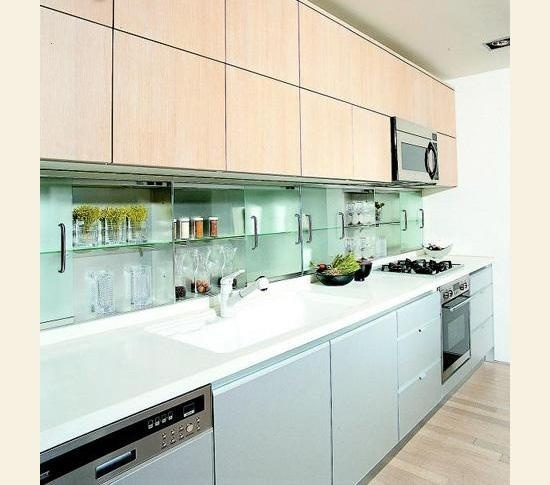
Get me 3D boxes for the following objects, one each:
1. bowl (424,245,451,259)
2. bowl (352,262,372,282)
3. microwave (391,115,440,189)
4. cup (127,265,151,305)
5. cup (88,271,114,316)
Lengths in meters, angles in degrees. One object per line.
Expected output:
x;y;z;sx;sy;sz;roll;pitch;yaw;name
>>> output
1.416;0.086;3.652;0.234;0.128;0.164;5;7;39;bowl
0.550;0.187;2.640;0.100;0.104;0.118;0;-3;0;bowl
0.977;-0.613;2.942;0.338;0.436;0.595;-4;-4;32;microwave
-0.559;0.185;1.735;0.096;0.164;0.047;-1;5;-20;cup
-0.667;0.197;1.606;0.091;0.164;0.048;-2;5;-29;cup
